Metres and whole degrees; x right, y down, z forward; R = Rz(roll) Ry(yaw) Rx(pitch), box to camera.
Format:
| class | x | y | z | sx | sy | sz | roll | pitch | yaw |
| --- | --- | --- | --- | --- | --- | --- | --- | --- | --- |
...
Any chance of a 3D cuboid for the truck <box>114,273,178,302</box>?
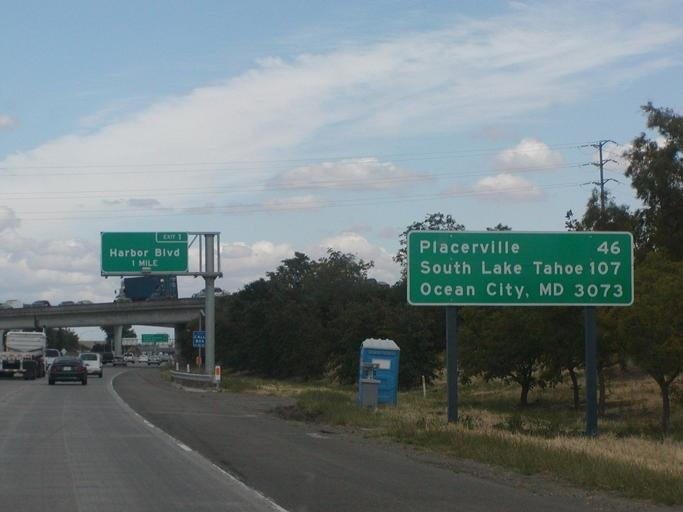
| class | x | y | z | sx | sy | sz | roll | pitch | yaw |
| --- | --- | --- | --- | --- | --- | --- | --- | --- | --- |
| truck | -19.140 | 3.358 | 108.724 | 6.107 | 2.541 | 3.080 | -5 | -9 | 34 |
